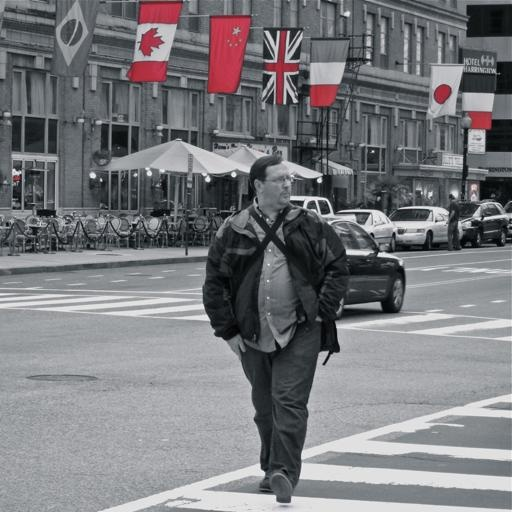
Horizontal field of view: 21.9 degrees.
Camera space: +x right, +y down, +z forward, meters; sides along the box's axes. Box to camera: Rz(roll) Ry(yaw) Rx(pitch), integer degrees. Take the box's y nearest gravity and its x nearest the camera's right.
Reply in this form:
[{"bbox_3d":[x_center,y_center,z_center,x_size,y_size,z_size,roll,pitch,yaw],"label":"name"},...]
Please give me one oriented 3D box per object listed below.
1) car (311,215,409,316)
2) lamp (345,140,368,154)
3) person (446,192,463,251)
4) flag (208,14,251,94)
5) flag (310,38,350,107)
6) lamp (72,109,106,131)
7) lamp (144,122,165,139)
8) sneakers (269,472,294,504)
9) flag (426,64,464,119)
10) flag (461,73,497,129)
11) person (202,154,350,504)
[{"bbox_3d":[1.133,0.115,18.751,1.109,1.449,2.770,1,2,34],"label":"car"},{"bbox_3d":[4.082,-4.671,54.084,0.340,0.526,1.233,-2,-1,34],"label":"lamp"},{"bbox_3d":[5.777,-1.025,38.677,0.408,1.611,1.586,7,2,9],"label":"person"},{"bbox_3d":[-0.706,-5.329,33.550,1.116,2.288,0.193,-5,42,-17],"label":"flag"},{"bbox_3d":[2.115,-5.680,39.548,1.073,1.998,0.749,7,2,1],"label":"flag"},{"bbox_3d":[-4.953,-4.199,39.387,0.187,0.528,1.268,8,2,31],"label":"lamp"},{"bbox_3d":[-3.210,-4.170,42.311,0.722,0.774,0.398,-3,2,-37],"label":"lamp"},{"bbox_3d":[0.163,1.475,8.460,0.087,0.266,0.103,-3,34,7],"label":"sneakers"},{"bbox_3d":[6.292,-5.673,44.315,1.097,2.128,0.284,3,-21,12],"label":"flag"},{"bbox_3d":[8.430,-6.211,50.253,1.169,2.533,0.219,2,-12,8],"label":"flag"},{"bbox_3d":[0.112,0.380,8.720,0.926,2.112,0.524,7,2,4],"label":"person"}]
